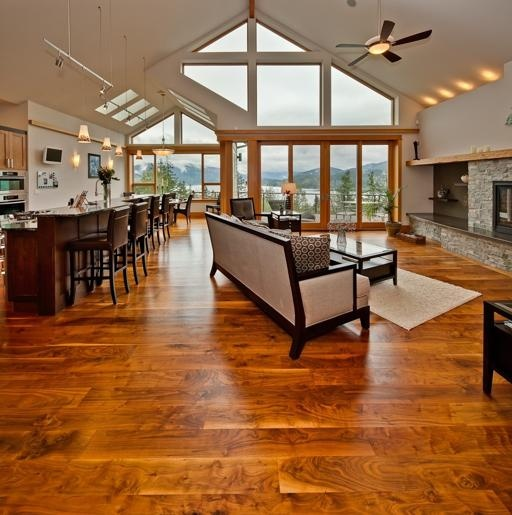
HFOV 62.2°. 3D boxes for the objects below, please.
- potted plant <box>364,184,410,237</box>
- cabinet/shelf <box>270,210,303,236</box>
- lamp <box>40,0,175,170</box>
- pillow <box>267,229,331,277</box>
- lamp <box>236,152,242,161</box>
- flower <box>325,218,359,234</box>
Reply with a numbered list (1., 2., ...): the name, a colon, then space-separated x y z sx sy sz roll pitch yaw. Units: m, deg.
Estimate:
1. potted plant: 2.924 -1.026 9.349 0.773 0.991 1.972 1 12 6
2. cabinet/shelf: 0.497 -0.661 8.059 0.545 0.435 0.735 -2 7 -15
3. lamp: -3.812 -3.888 10.276 1.305 2.274 4.202 -5 -6 4
4. pillow: 0.358 -0.016 3.087 0.341 0.265 0.302 0 12 3
5. lamp: -0.433 -2.439 10.330 0.164 0.192 0.084 -3 10 -20
6. flower: 1.539 -0.567 7.763 0.712 0.204 0.694 2 5 17
